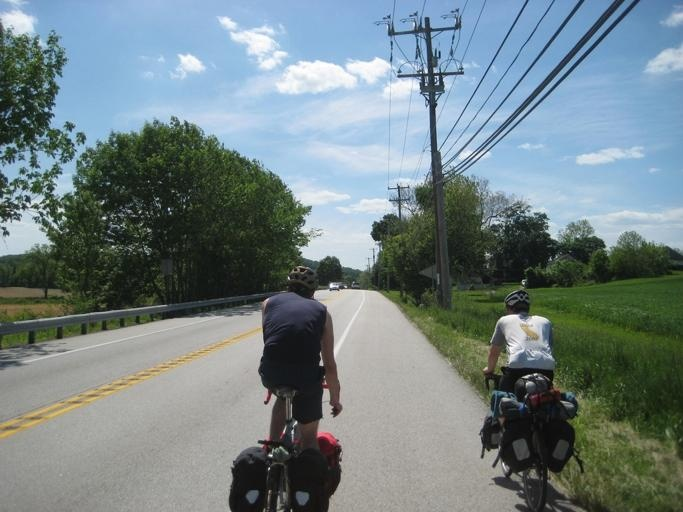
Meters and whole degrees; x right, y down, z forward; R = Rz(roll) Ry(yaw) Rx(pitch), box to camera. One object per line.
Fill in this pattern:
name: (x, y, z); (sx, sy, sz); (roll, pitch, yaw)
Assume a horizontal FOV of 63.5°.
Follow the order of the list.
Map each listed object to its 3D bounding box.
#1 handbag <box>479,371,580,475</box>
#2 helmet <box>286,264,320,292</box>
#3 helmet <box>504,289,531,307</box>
handbag: (2.387, 2.166, 7.414); (0.685, 1.176, 1.727); (-2, -9, 3)
helmet: (-0.460, 0.246, 6.687); (0.234, 0.349, 0.331); (9, 6, -2)
helmet: (2.472, 0.563, 7.772); (0.222, 0.341, 0.318); (6, 8, 10)
